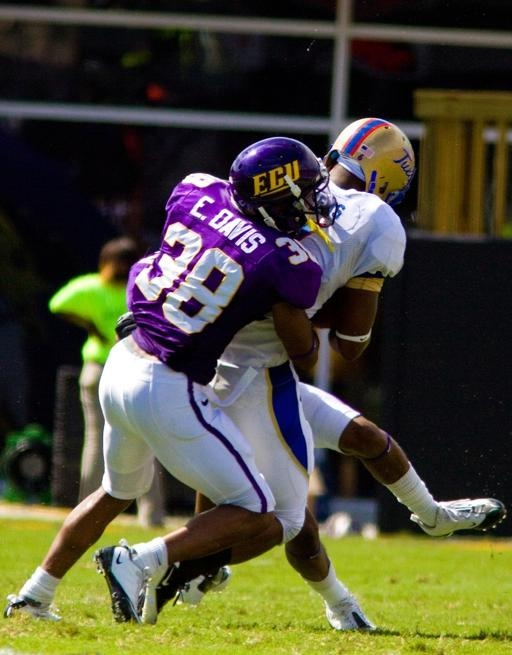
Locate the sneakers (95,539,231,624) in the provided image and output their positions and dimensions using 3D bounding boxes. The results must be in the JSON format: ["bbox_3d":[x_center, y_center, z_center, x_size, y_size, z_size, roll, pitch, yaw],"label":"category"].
[{"bbox_3d":[-0.281,0.807,3.196,0.193,0.566,0.246,31,99,29],"label":"sneakers"}]

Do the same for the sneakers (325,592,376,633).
[{"bbox_3d":[0.316,1.019,3.483,0.076,0.077,0.207,-35,32,-25],"label":"sneakers"}]

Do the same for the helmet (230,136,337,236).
[{"bbox_3d":[0.061,-0.479,3.192,0.410,0.273,0.274,-6,29,-9],"label":"helmet"}]
